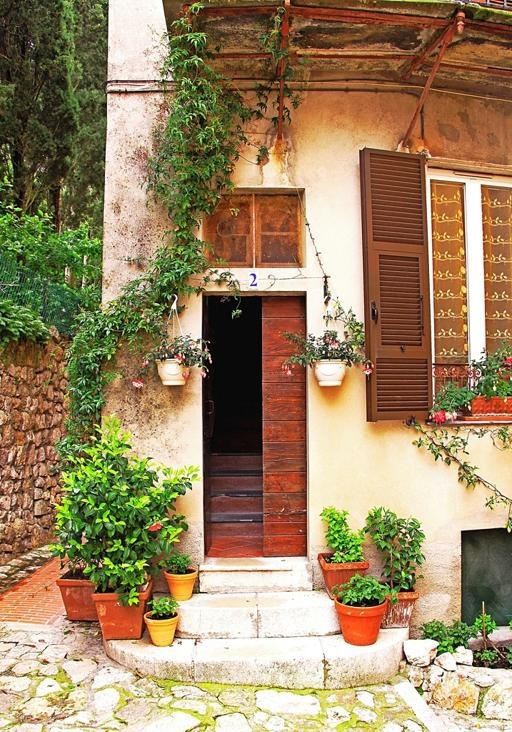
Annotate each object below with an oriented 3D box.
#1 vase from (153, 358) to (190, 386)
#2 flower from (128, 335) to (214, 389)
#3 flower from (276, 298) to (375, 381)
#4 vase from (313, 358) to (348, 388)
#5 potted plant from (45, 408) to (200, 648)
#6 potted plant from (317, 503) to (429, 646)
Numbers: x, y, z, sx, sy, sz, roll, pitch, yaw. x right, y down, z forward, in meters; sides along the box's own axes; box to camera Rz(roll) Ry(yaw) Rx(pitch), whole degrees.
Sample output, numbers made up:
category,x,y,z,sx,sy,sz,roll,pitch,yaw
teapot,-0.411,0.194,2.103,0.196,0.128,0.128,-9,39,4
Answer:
category,x,y,z,sx,sy,sz,roll,pitch,yaw
vase,-0.612,0.044,5.214,0.209,0.140,0.204,1,1,17
flower,-0.606,-0.027,5.346,0.580,0.351,0.417,-1,-3,-7
flower,0.539,-0.178,5.423,0.708,0.636,0.491,2,0,11
vase,0.530,0.060,5.272,0.212,0.146,0.206,1,-2,-5
potted plant,-0.868,1.082,5.303,1.431,1.740,1.378,0,2,0
potted plant,0.711,1.410,5.064,0.757,0.859,0.865,1,-6,-5
